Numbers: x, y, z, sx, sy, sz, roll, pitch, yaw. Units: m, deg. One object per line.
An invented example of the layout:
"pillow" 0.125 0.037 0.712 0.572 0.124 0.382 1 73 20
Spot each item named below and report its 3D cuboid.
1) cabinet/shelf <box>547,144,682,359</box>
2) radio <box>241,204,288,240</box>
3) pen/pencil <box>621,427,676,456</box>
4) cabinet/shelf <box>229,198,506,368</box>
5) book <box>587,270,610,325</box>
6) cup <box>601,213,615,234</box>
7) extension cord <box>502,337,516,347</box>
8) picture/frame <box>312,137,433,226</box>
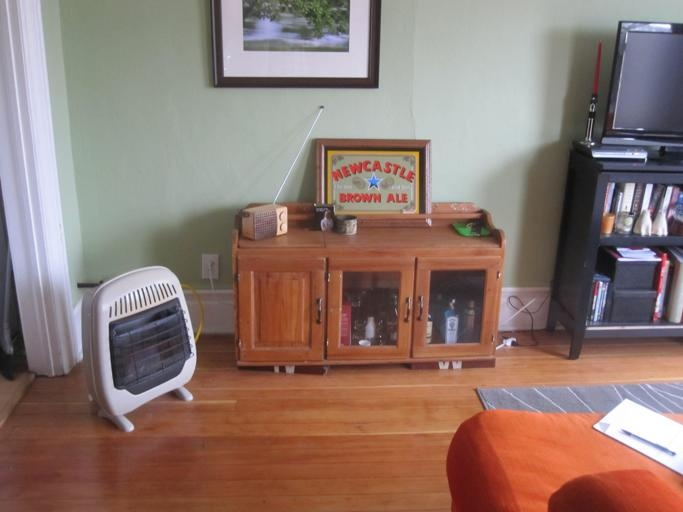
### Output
"cabinet/shelf" 1.467 -0.006 3.115 0.534 1.161 0.366 7 19 23
"radio" -0.410 -0.182 2.984 0.230 0.156 0.126 -15 22 -42
"pen/pencil" 1.075 0.652 1.964 0.149 0.018 0.023 20 67 39
"cabinet/shelf" 0.146 0.189 3.076 1.379 0.859 0.425 -1 16 -1
"book" 1.428 0.231 3.119 0.104 0.282 0.264 2 -7 15
"cup" 1.463 -0.178 3.073 0.054 0.106 0.126 11 20 31
"extension cord" 0.985 0.498 3.280 0.071 0.047 0.038 -9 0 31
"picture/frame" 0.156 -0.420 3.099 0.487 0.365 0.038 0 6 -1
